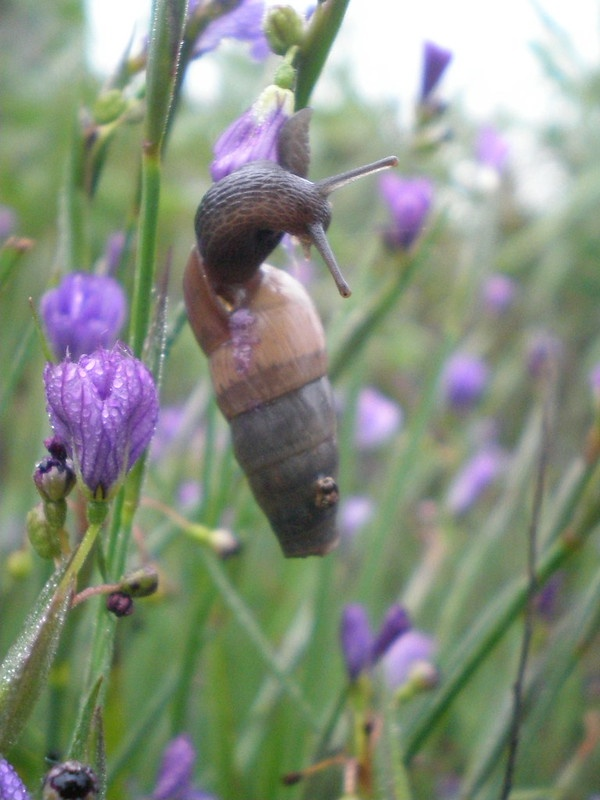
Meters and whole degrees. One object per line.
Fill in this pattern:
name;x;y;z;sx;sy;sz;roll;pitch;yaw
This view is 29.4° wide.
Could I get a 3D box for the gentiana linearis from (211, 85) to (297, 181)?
gentiana linearis;-0.021;-0.120;0.514;0.021;0.043;0.033;17;25;37
